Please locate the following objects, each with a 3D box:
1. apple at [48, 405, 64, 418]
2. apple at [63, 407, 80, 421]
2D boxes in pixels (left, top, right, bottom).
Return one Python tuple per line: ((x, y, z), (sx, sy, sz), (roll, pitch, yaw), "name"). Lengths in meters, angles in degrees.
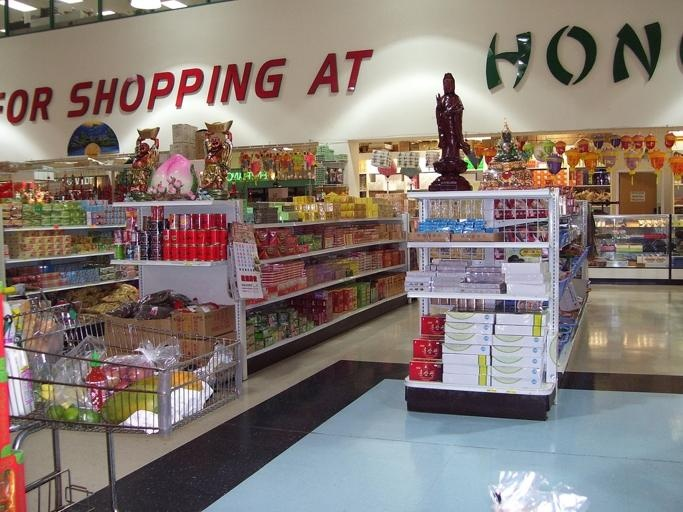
((-1.204, 0.663, 2.238), (0.049, 0.052, 0.060), (-22, -18, -4), "apple")
((-1.147, 0.673, 2.241), (0.043, 0.049, 0.060), (2, 1, -4), "apple")
